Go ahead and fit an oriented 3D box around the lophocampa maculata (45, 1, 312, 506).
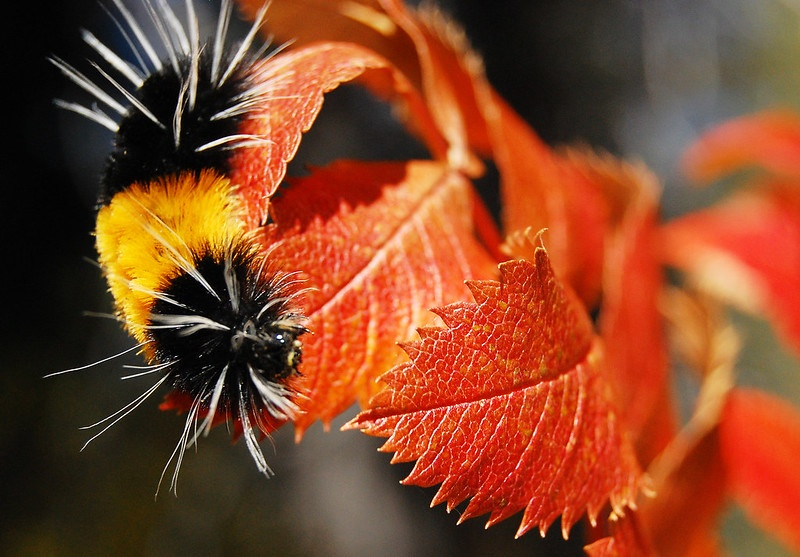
[{"bbox_3d":[-0.178,-0.029,0.747,0.213,0.381,0.133,-1,10,-3],"label":"lophocampa maculata"}]
